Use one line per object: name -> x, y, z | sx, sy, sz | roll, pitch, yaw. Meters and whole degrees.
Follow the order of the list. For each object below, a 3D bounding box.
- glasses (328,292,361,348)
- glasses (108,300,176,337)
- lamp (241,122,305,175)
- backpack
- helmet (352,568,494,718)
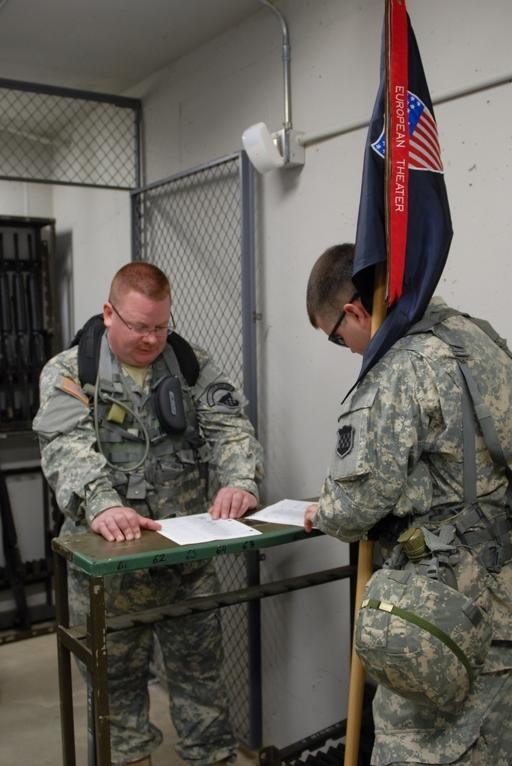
glasses -> 0.184, -0.135, 1.556 | 0.027, 0.088, 0.088 | 25, 13, 16
glasses -> -0.367, -0.202, 2.226 | 0.193, 0.112, 0.150 | 0, 1, -10
lamp -> 0.076, -0.861, 2.620 | 0.227, 0.158, 0.144 | -1, 0, -33
backpack -> -0.450, -0.136, 2.331 | 0.262, 0.144, 0.339 | -7, 41, -18
helmet -> 0.309, 0.441, 1.234 | 0.229, 0.226, 0.186 | -38, -26, 16
